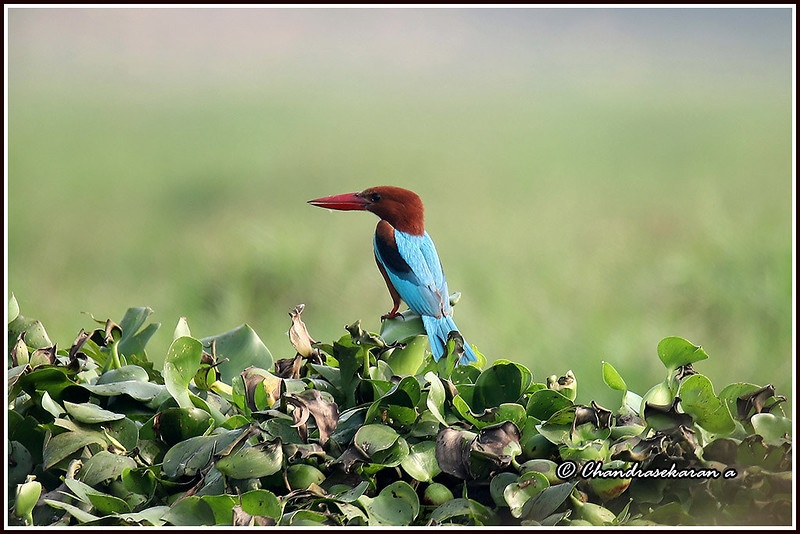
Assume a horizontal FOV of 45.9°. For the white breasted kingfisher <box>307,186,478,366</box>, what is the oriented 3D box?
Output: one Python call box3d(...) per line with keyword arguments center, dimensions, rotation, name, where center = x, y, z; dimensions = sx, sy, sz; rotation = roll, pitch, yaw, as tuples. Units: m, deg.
box3d(center=(-0.011, 0.065, 4.049), dimensions=(0.518, 0.848, 0.454), rotation=(-14, -26, 21), name="white breasted kingfisher")
